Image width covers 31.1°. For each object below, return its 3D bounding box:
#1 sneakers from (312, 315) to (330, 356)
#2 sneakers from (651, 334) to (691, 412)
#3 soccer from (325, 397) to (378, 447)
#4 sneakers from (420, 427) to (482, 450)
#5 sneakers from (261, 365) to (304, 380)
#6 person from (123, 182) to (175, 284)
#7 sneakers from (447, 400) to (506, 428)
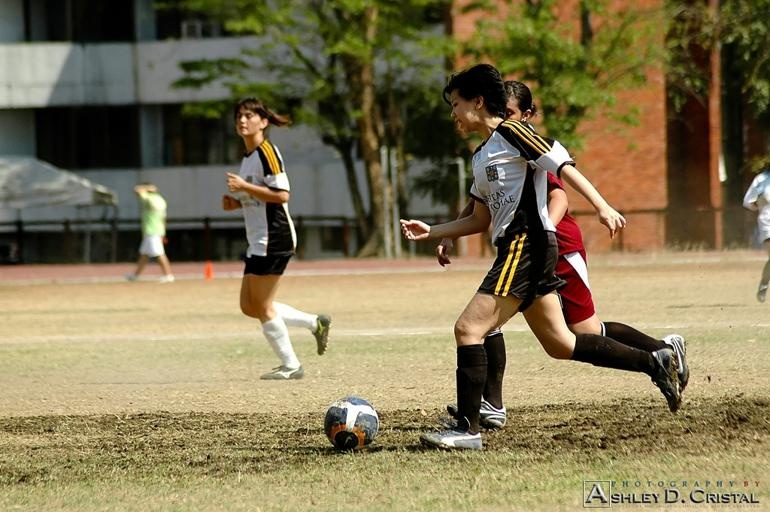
[{"bbox_3d":[-0.640,0.806,14.256,0.192,0.428,0.152,-3,12,-6],"label":"sneakers"},{"bbox_3d":[2.556,1.022,12.150,0.284,0.621,0.210,-10,-3,0],"label":"sneakers"},{"bbox_3d":[-0.283,1.427,11.745,0.403,0.392,0.388,2,-14,1],"label":"soccer"},{"bbox_3d":[0.579,1.563,11.787,0.529,0.231,0.194,6,-24,-3],"label":"sneakers"},{"bbox_3d":[-0.996,1.156,13.776,0.437,0.177,0.160,0,-7,0],"label":"sneakers"},{"bbox_3d":[-2.313,-0.215,13.869,0.366,0.928,0.930,-3,1,10],"label":"person"},{"bbox_3d":[0.834,1.412,12.122,0.589,0.254,0.212,12,-10,-9],"label":"sneakers"}]
